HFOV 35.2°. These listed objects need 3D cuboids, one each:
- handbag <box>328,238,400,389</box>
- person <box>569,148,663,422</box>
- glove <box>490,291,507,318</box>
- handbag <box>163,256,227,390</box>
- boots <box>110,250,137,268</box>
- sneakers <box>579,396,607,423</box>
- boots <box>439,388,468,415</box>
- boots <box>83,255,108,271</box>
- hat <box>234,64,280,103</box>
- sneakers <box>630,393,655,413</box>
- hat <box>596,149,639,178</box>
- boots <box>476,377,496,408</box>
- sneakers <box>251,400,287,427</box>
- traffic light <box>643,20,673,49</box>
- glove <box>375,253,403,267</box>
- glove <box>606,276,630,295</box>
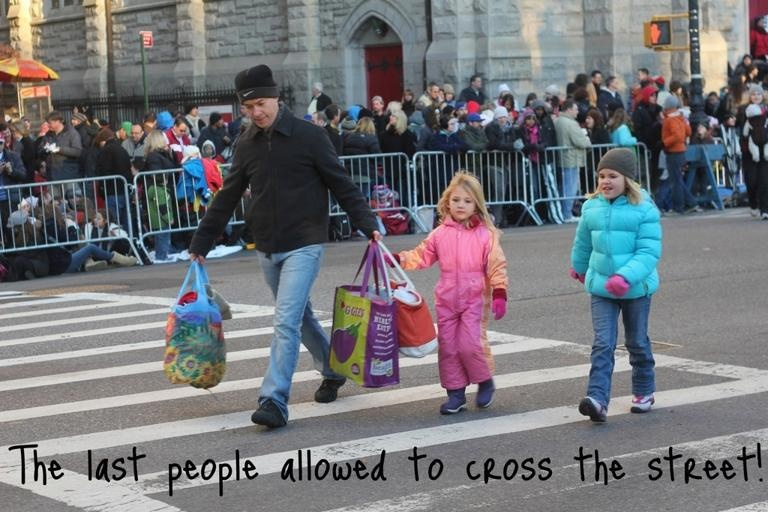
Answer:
[{"bbox_3d":[-0.210,0.547,11.823,0.661,1.359,0.447,0,12,4],"label":"handbag"},{"bbox_3d":[2.201,0.271,11.539,0.828,2.463,0.967,1,13,10],"label":"person"},{"bbox_3d":[1.087,0.462,11.514,0.119,0.249,0.169,0,13,3],"label":"glove"},{"bbox_3d":[-1.877,0.681,11.876,0.587,1.189,0.444,-3,13,-10],"label":"handbag"},{"bbox_3d":[-4.243,0.053,19.694,0.500,0.211,0.170,-5,32,-8],"label":"boots"},{"bbox_3d":[1.977,1.433,11.452,0.280,0.262,0.220,0,13,3],"label":"sneakers"},{"bbox_3d":[0.674,1.420,11.760,0.323,0.308,0.144,-1,-1,-42],"label":"boots"},{"bbox_3d":[-4.652,0.120,19.520,0.348,0.183,0.100,-7,14,-22],"label":"boots"},{"bbox_3d":[-1.226,-1.660,11.743,0.369,0.286,0.354,-17,16,-31],"label":"hat"},{"bbox_3d":[2.488,1.418,11.688,0.106,0.134,0.300,4,10,29],"label":"sneakers"},{"bbox_3d":[2.241,-0.913,11.654,0.317,0.237,0.309,0,8,-15],"label":"hat"},{"bbox_3d":[0.995,1.347,11.869,0.120,0.148,0.351,0,51,24],"label":"boots"},{"bbox_3d":[-1.078,1.477,11.447,0.189,0.151,0.346,3,-26,17],"label":"sneakers"},{"bbox_3d":[5.743,-4.685,25.429,0.538,0.577,0.346,1,13,10],"label":"traffic light"},{"bbox_3d":[0.040,0.044,11.877,0.152,0.062,0.153,35,17,9],"label":"glove"},{"bbox_3d":[2.207,0.284,11.459,0.227,0.224,0.139,-1,13,3],"label":"glove"}]
